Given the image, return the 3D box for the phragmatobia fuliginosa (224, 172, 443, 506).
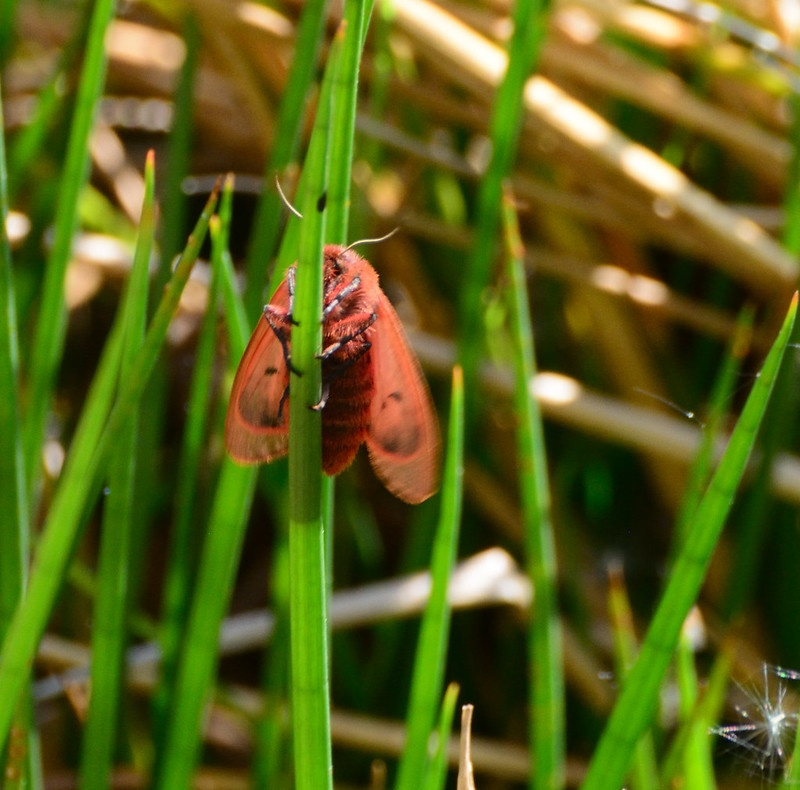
[{"bbox_3d":[-0.079,-0.052,1.512,0.285,0.385,0.277,4,12,-41],"label":"phragmatobia fuliginosa"}]
